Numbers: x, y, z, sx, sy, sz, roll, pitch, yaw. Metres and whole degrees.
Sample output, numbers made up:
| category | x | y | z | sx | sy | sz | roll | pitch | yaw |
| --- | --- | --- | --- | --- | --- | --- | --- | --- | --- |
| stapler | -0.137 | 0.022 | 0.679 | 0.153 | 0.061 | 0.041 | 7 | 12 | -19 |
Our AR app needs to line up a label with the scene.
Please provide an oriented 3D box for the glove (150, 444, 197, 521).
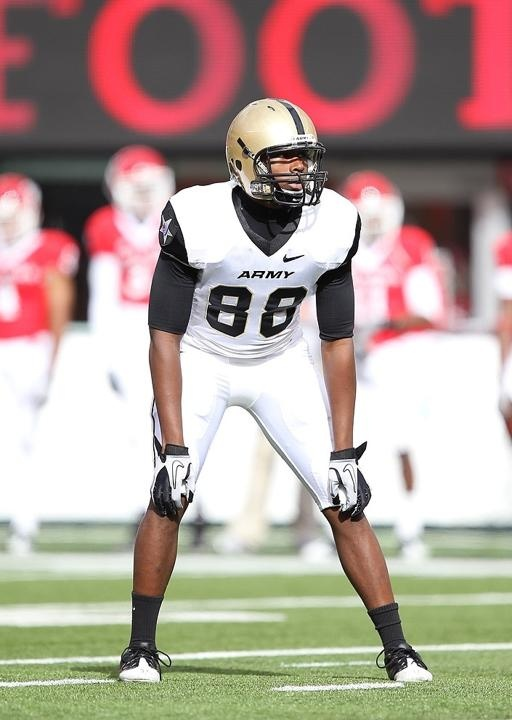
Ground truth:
| category | x | y | z | sx | sy | sz | roll | pitch | yaw |
| --- | --- | --- | --- | --- | --- | --- | --- | --- | --- |
| glove | -0.174 | 0.252 | 1.835 | 0.081 | 0.165 | 0.078 | 3 | 9 | -6 |

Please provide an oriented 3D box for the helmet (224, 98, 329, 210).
| category | x | y | z | sx | sy | sz | roll | pitch | yaw |
| --- | --- | --- | --- | --- | --- | --- | --- | --- | --- |
| helmet | 0.046 | -0.464 | 1.982 | 0.193 | 0.193 | 0.280 | -14 | 23 | -40 |

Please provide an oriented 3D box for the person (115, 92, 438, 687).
| category | x | y | z | sx | sy | sz | roll | pitch | yaw |
| --- | --- | --- | --- | --- | --- | --- | --- | --- | --- |
| person | 0.034 | 0.111 | 1.943 | 0.595 | 1.052 | 0.464 | 3 | 9 | -7 |
